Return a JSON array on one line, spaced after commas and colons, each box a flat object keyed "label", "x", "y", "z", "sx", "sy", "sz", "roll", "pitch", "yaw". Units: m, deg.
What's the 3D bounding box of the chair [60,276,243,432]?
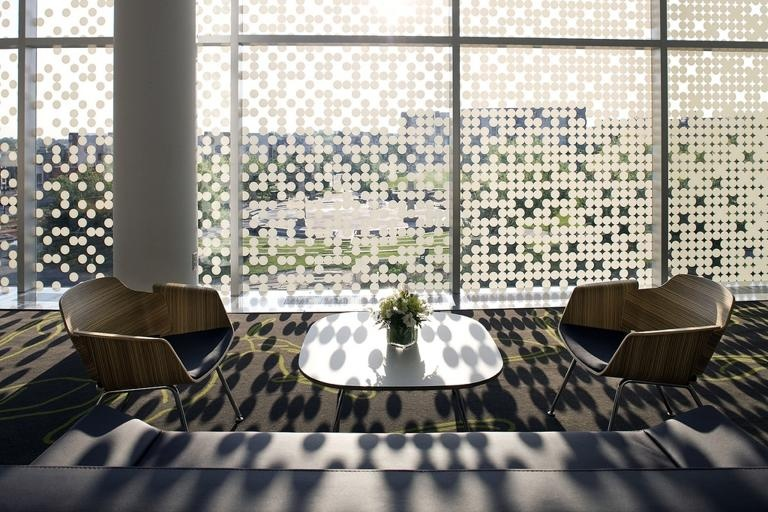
[{"label": "chair", "x": -1.506, "y": 0.682, "z": 3.404, "sx": 0.977, "sy": 0.880, "sz": 0.991, "roll": 0, "pitch": 13, "yaw": -23}]

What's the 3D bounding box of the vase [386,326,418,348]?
[{"label": "vase", "x": 0.123, "y": 0.543, "z": 3.440, "sx": 0.147, "sy": 0.150, "sz": 0.151, "roll": 1, "pitch": -2, "yaw": -1}]

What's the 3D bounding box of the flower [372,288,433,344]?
[{"label": "flower", "x": 0.154, "y": 0.353, "z": 3.538, "sx": 0.345, "sy": 0.357, "sz": 0.362, "roll": 3, "pitch": 15, "yaw": 23}]

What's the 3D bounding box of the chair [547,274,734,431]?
[{"label": "chair", "x": 1.712, "y": 0.502, "z": 3.566, "sx": 1.031, "sy": 1.029, "sz": 1.058, "roll": -7, "pitch": 14, "yaw": -8}]
